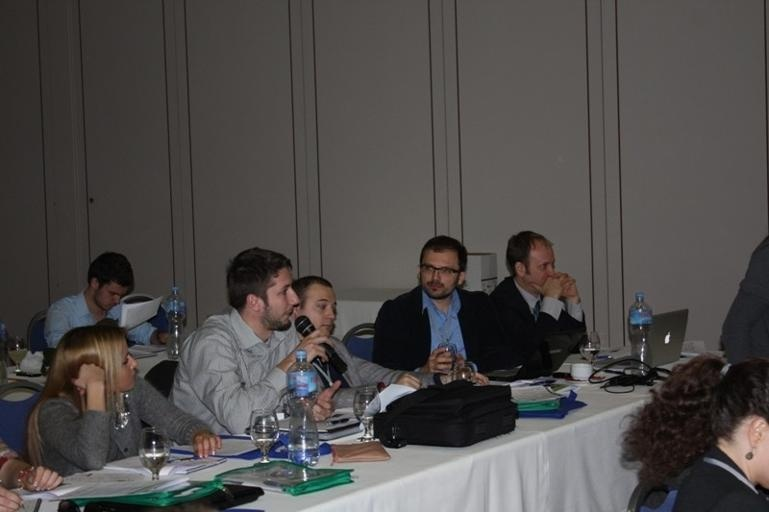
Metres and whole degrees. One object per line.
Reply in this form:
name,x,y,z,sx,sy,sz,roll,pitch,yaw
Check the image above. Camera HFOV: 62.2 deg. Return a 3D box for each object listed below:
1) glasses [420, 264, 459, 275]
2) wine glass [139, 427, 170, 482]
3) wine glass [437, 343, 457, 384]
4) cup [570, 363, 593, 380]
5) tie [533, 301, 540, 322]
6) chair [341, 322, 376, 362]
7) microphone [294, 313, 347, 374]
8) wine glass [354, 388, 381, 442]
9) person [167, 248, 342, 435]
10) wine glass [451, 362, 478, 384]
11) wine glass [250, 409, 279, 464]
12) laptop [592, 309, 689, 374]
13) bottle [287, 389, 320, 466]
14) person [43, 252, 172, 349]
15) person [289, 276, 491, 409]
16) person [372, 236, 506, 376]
glasses,0.353,0.082,4.065,0.232,0.063,0.071,-5,-1,0
wine glass,-0.855,0.722,2.362,0.116,0.180,0.090,-5,-1,7
wine glass,0.345,0.570,3.369,0.049,0.148,0.101,4,1,-44
cup,1.070,0.619,3.474,0.087,0.067,0.090,0,-3,0
tie,1.035,0.370,4.327,0.090,0.128,0.049,1,-9,5
chair,-0.186,0.601,4.516,0.247,0.348,0.252,1,-2,-9
microphone,-0.329,0.439,3.181,0.093,0.357,0.096,-40,-7,-15
wine glass,-0.083,0.680,2.736,0.162,0.275,0.167,1,-8,-8
person,-0.634,0.700,3.273,0.692,1.343,0.639,-1,16,-23
wine glass,0.395,0.574,3.162,0.107,0.086,0.080,18,-27,-33
wine glass,-0.471,0.712,2.518,0.124,0.203,0.122,1,-1,-40
laptop,1.526,0.400,3.710,0.447,0.320,0.365,-4,3,-43
bottle,-0.320,0.672,2.486,0.121,0.261,0.145,-5,-1,-9
person,-2.212,0.526,5.035,0.838,1.057,0.713,5,6,-43
person,0.018,0.426,3.417,0.979,0.642,0.590,-2,0,16
person,0.351,0.407,4.197,1.039,0.943,0.760,0,-5,-1
